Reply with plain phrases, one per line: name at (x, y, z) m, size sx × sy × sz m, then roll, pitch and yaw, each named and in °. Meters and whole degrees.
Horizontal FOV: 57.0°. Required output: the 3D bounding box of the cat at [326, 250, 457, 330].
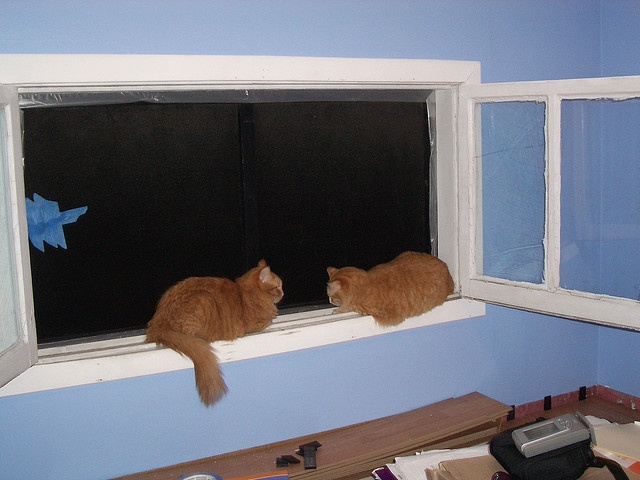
cat at (0.330, 0.231, 2.839) m, size 0.511 × 0.332 × 0.211 m, roll -16°, pitch -53°, yaw -1°
